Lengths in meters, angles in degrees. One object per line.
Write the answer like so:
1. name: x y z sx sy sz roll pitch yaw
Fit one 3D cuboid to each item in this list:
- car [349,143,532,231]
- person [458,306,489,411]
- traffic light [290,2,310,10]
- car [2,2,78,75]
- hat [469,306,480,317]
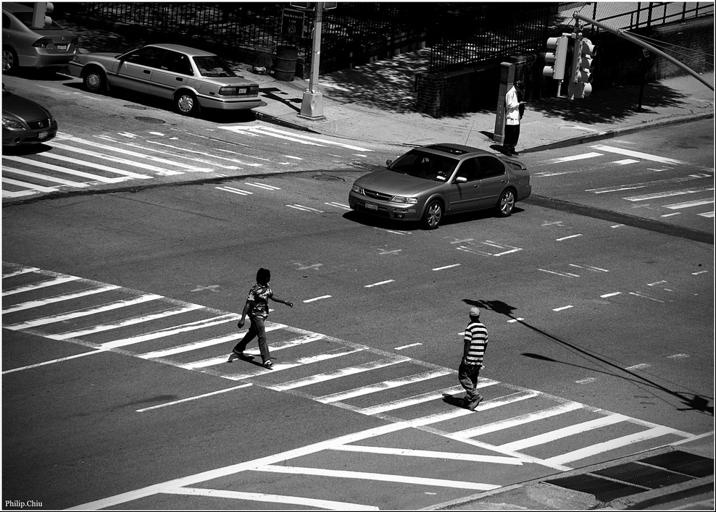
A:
1. car: 2.200 -1.809 39.341 4.796 1.912 1.582 -11 24 -37
2. person: 2.407 2.159 30.605 0.540 2.062 0.783 6 20 4
3. traffic light: -1.878 -8.205 48.127 0.652 0.191 0.595 12 17 41
4. car: -10.216 -6.807 46.944 2.117 2.035 1.518 -1 20 -11
5. hat: 2.443 1.182 30.683 0.212 0.103 0.260 3 13 2
